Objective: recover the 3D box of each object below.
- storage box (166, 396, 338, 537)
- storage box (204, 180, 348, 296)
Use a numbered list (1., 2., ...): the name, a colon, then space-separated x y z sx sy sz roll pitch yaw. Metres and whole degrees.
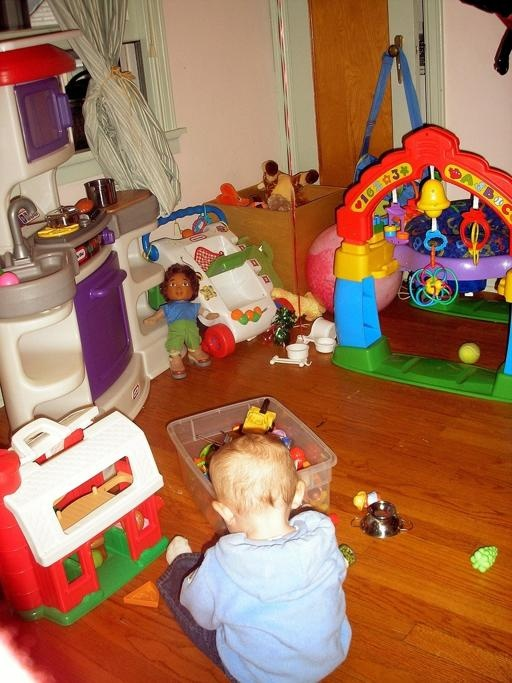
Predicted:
1. storage box: -0.010 0.385 1.508 0.382 0.190 0.466 -14 35 -27
2. storage box: 0.125 -0.536 2.945 0.606 0.550 0.612 19 41 23
